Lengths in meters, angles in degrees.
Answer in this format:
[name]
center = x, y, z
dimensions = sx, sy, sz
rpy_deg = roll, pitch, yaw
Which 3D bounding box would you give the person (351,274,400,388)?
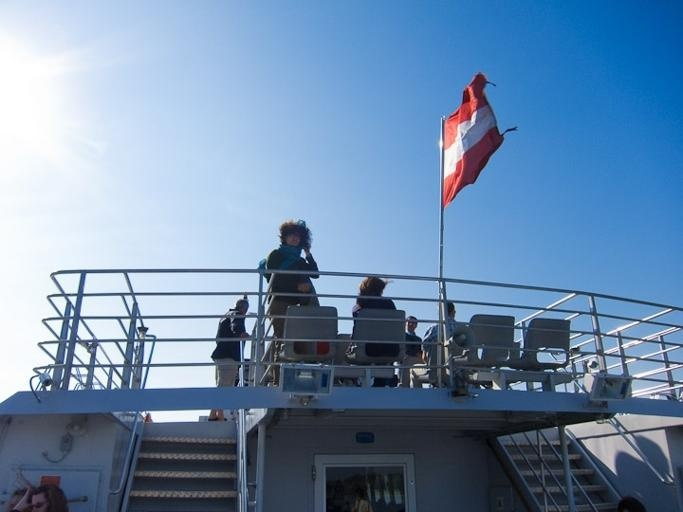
[person]
center = 0.372, 0.807, 8.700
dimensions = 0.575, 0.610, 1.347
rpy_deg = 4, -60, -5

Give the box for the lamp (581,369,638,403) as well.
[lamp]
center = 3.383, 1.619, 8.106
dimensions = 0.548, 0.360, 0.336
rpy_deg = -2, -30, 1

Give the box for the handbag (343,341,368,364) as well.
[handbag]
center = 0.191, 1.198, 8.106
dimensions = 0.247, 0.386, 0.383
rpy_deg = 5, -27, -9
